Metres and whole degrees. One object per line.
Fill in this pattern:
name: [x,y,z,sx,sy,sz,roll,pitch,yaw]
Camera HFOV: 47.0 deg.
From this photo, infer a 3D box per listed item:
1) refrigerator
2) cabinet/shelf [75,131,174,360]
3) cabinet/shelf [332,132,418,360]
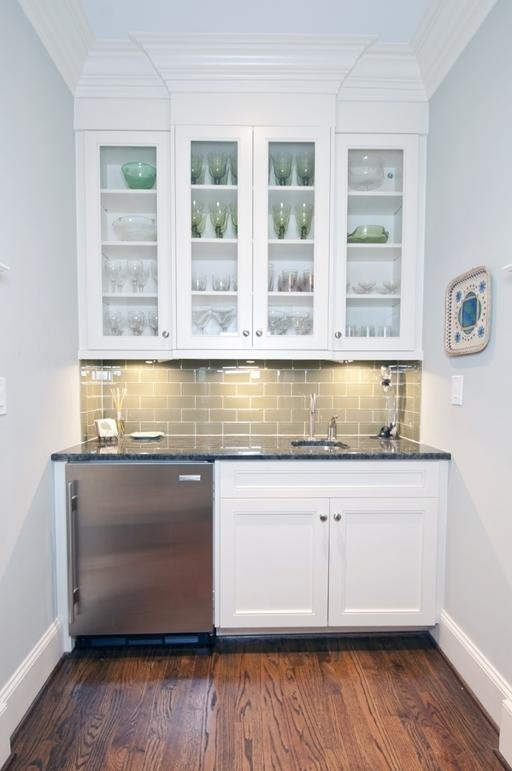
refrigerator: [-0.441,0.620,2.562,0.567,0.929,0.609,0,-5,-7]
cabinet/shelf: [-0.576,-0.612,2.610,0.414,0.960,0.345,-2,10,-9]
cabinet/shelf: [0.540,-0.609,2.620,0.405,0.961,0.326,2,10,7]
